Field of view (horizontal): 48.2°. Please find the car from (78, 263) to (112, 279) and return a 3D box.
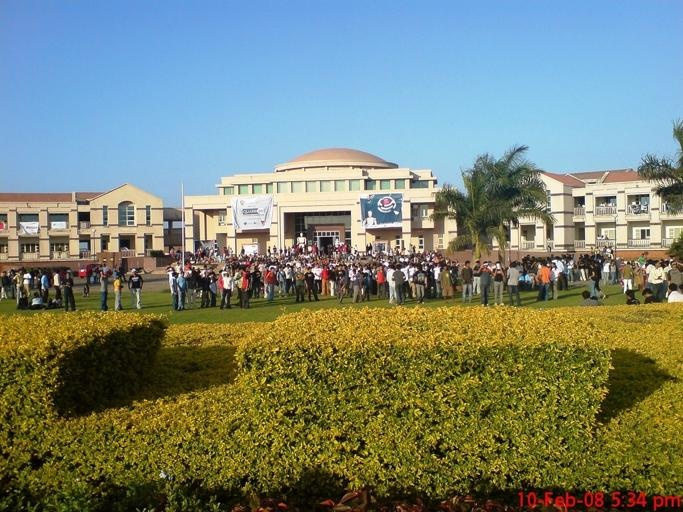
[{"bbox_3d":[-14.403,0.896,44.609,1.807,1.039,1.266,-3,0,19],"label":"car"}]
